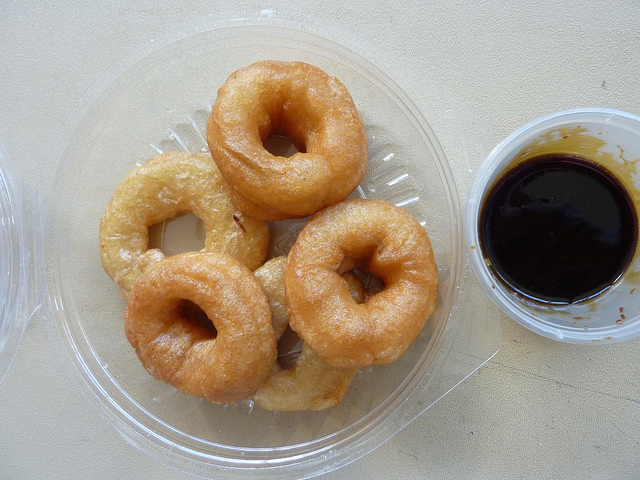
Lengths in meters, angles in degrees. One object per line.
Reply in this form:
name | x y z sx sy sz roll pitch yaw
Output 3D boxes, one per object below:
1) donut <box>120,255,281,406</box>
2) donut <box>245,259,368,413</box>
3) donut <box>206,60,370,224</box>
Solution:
donut | -0.258 0.168 1.517 0.341 0.354 0.123 -36 -2 13
donut | -0.026 0.223 1.515 0.338 0.349 0.108 14 3 4
donut | -0.075 -0.222 1.447 0.367 0.369 0.158 4 -3 0
